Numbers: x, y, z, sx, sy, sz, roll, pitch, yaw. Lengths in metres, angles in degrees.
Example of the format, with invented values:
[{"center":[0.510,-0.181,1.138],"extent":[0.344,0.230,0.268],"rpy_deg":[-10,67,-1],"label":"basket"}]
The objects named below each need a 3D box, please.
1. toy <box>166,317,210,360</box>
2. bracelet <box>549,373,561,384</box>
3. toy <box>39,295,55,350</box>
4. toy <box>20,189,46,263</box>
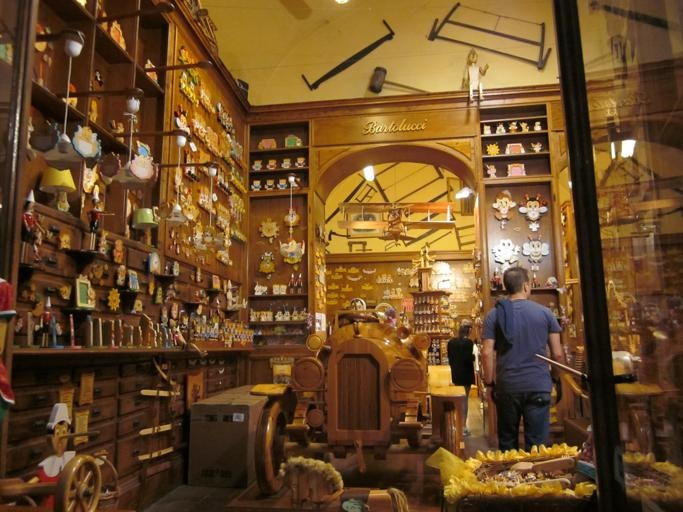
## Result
[{"center":[-1.520,0.846,5.350],"extent":[0.452,0.247,0.249],"rpy_deg":[27,-13,-39],"label":"toy"},{"center":[1.631,0.933,4.063],"extent":[0.078,0.056,0.106],"rpy_deg":[-4,-27,-4],"label":"bracelet"},{"center":[-1.929,0.428,3.514],"extent":[0.110,0.352,0.384],"rpy_deg":[5,-14,-28],"label":"toy"},{"center":[-1.992,-0.174,3.445],"extent":[0.105,0.416,0.325],"rpy_deg":[4,-13,-23],"label":"toy"}]
